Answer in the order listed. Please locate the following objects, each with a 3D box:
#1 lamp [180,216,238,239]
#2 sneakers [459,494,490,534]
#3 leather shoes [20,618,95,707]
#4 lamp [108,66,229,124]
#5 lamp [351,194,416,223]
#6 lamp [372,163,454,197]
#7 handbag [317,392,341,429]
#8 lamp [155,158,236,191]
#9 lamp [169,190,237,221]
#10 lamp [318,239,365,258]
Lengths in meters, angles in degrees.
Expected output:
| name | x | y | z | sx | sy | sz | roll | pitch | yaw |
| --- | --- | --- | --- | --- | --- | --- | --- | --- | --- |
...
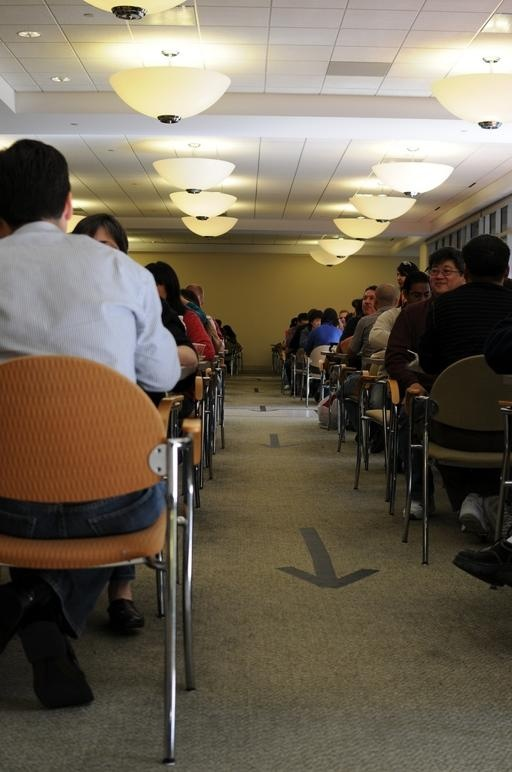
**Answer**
| name | x | y | z | sx | sy | sz | roll | pitch | yaw |
| --- | --- | --- | --- | --- | --- | --- | --- | --- | --- |
| lamp | -0.968 | -3.239 | 11.420 | 1.129 | 0.415 | 1.132 | 1 | 4 | 11 |
| sneakers | 0.907 | 0.545 | 2.404 | 0.121 | 0.169 | 0.061 | -3 | -7 | -26 |
| leather shoes | -0.374 | 0.516 | 1.097 | 0.114 | 0.189 | 0.080 | -22 | 23 | -13 |
| lamp | -0.856 | -2.912 | 5.619 | 1.150 | 0.299 | 0.531 | 1 | -4 | 1 |
| lamp | 2.112 | -3.070 | 9.933 | 0.961 | 0.388 | 0.955 | -2 | 6 | -9 |
| lamp | 2.226 | -2.979 | 8.061 | 0.746 | 0.297 | 0.747 | -2 | 5 | 4 |
| handbag | 0.827 | 0.290 | 6.453 | 0.226 | 0.413 | 0.376 | -4 | -10 | 29 |
| lamp | -0.894 | -3.021 | 8.012 | 0.690 | 0.247 | 0.689 | -1 | 8 | 0 |
| lamp | -0.916 | -2.983 | 9.279 | 0.659 | 0.240 | 0.662 | 0 | 6 | 10 |
| lamp | 2.103 | -3.461 | 14.108 | 0.795 | 0.315 | 0.802 | 1 | 6 | 22 |
